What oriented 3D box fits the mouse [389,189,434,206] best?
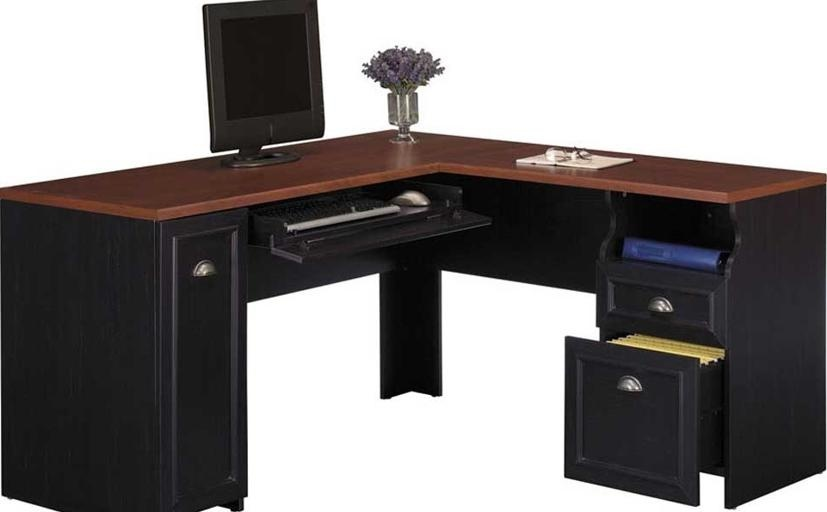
[{"bbox_3d":[0.004,-0.301,3.724,0.157,0.045,0.092,5,10,28],"label":"mouse"}]

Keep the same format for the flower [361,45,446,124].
[{"bbox_3d":[-0.059,-1.013,4.470,0.526,0.462,0.415,2,-75,-2],"label":"flower"}]
